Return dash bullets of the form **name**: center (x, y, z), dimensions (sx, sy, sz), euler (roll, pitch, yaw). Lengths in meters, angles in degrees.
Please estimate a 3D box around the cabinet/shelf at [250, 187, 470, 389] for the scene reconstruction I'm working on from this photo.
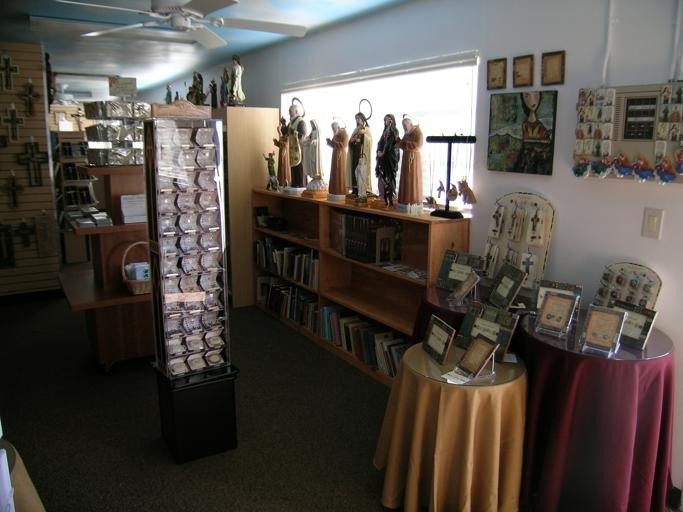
- **cabinet/shelf**: center (0.185, 0.299, 4.255), dimensions (0.278, 0.933, 1.680), euler (-4, 15, -36)

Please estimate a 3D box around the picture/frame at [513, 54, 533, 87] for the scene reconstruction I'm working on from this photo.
- **picture/frame**: center (1.276, -1.306, 3.441), dimensions (0.021, 0.214, 0.159), euler (-22, 25, -37)

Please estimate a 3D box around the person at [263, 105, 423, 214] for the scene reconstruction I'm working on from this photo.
- **person**: center (0.047, -0.947, 4.694), dimensions (1.231, 1.094, 0.461), euler (10, 10, 42)

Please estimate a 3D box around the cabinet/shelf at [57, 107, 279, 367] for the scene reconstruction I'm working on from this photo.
- **cabinet/shelf**: center (-1.349, -0.129, 4.163), dimensions (1.880, 2.162, 2.138), euler (-7, 17, -26)

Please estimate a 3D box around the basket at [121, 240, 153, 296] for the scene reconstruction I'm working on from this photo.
- **basket**: center (-1.707, 0.073, 4.076), dimensions (0.226, 0.406, 0.438), euler (-7, 16, -24)
